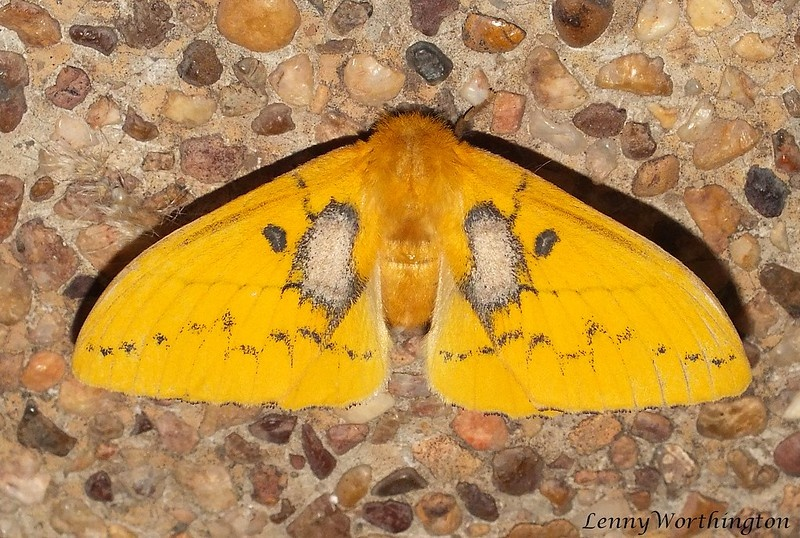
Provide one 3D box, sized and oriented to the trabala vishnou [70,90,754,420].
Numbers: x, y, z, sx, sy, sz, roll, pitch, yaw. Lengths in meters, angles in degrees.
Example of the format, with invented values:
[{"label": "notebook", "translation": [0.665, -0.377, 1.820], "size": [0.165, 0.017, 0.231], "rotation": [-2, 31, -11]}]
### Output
[{"label": "trabala vishnou", "translation": [0.054, -0.054, 3.525], "size": [2.386, 0.610, 1.195], "rotation": [0, 87, -6]}]
